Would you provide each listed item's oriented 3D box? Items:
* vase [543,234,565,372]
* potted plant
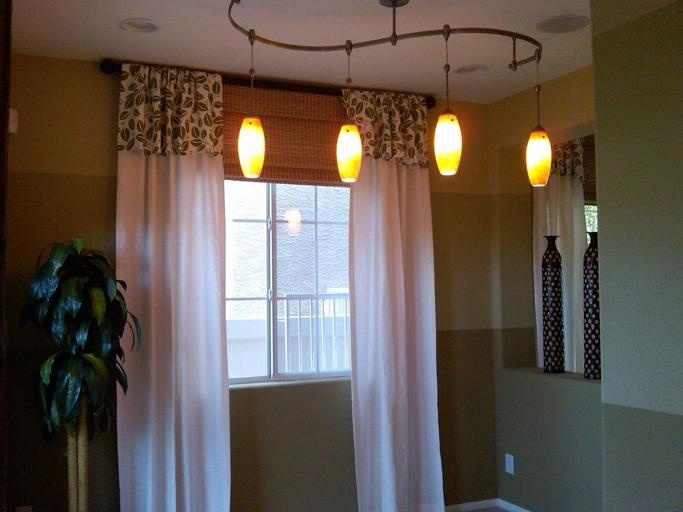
[{"bbox_3d":[1.599,0.365,4.781,0.142,1.024,0.105,-1,-3,17],"label":"vase"},{"bbox_3d":[-1.553,0.764,3.826,0.576,1.720,0.634,-2,-3,41],"label":"potted plant"}]
